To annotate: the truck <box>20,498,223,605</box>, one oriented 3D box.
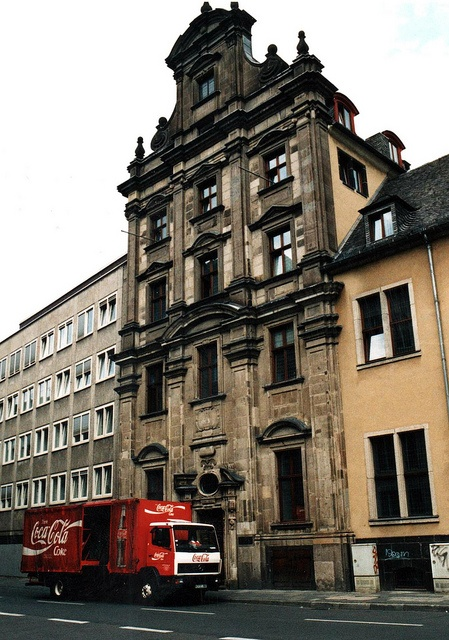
[{"bbox_3d":[-3.378,7.273,21.625,3.275,3.376,9.311,13,-27,-37],"label":"truck"}]
